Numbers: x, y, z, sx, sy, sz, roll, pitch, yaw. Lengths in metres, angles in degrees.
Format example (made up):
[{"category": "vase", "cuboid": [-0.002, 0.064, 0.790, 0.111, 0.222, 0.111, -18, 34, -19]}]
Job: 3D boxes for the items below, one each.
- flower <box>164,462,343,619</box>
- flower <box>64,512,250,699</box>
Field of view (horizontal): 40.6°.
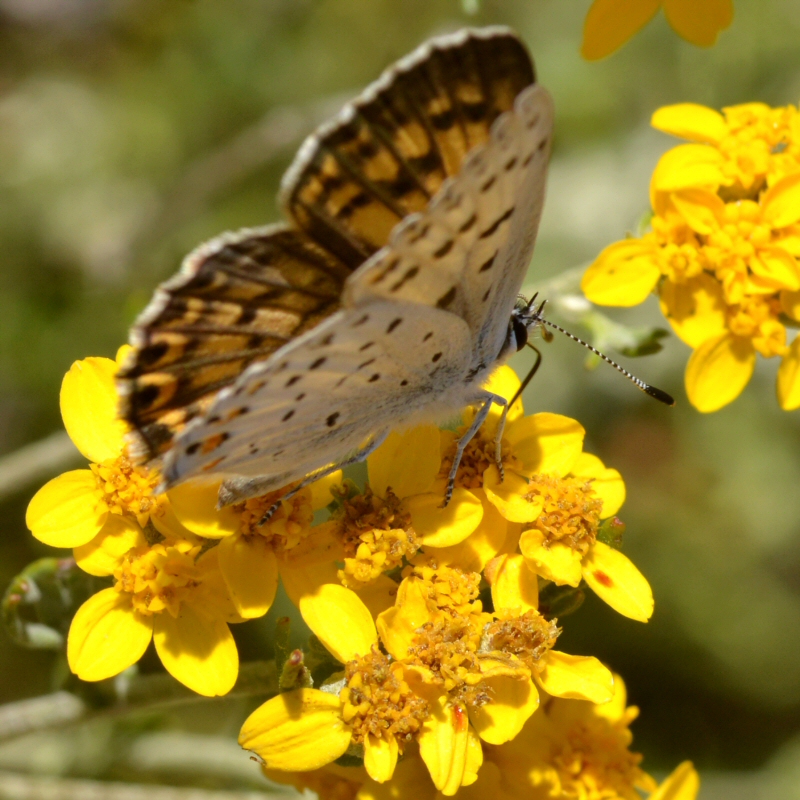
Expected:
[{"category": "flower", "cuboid": [-0.404, 0.357, 2.906, 0.407, 0.123, 0.401, -31, 96, -21]}, {"category": "flower", "cuboid": [-0.647, 0.537, 2.877, 0.478, 0.157, 0.399, -19, 93, -9]}]
